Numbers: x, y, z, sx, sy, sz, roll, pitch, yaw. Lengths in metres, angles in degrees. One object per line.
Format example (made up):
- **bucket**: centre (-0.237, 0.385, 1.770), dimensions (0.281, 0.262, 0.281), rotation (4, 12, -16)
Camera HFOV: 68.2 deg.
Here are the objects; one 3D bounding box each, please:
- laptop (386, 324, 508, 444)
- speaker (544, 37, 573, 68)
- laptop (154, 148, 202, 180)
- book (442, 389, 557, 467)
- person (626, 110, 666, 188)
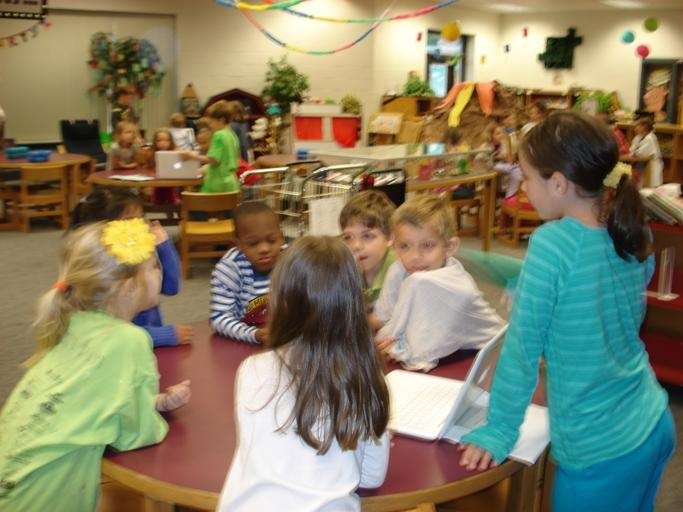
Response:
- **laptop**: centre (0.271, 0.376, 1.340), dimensions (0.278, 0.200, 0.321), rotation (6, 13, 29)
- **speaker**: centre (5.926, -5.560, 13.839), dimensions (0.256, 0.861, 0.860), rotation (-10, 14, -41)
- **laptop**: centre (-1.679, -0.942, 5.102), dimensions (0.406, 0.299, 0.262), rotation (2, 13, -8)
- **book**: centre (0.451, 0.449, 1.304), dimensions (0.201, 0.052, 0.212), rotation (-12, 15, -41)
- **person**: centre (4.564, -1.441, 7.458), dimensions (0.432, 1.404, 0.417), rotation (1, 44, 33)
